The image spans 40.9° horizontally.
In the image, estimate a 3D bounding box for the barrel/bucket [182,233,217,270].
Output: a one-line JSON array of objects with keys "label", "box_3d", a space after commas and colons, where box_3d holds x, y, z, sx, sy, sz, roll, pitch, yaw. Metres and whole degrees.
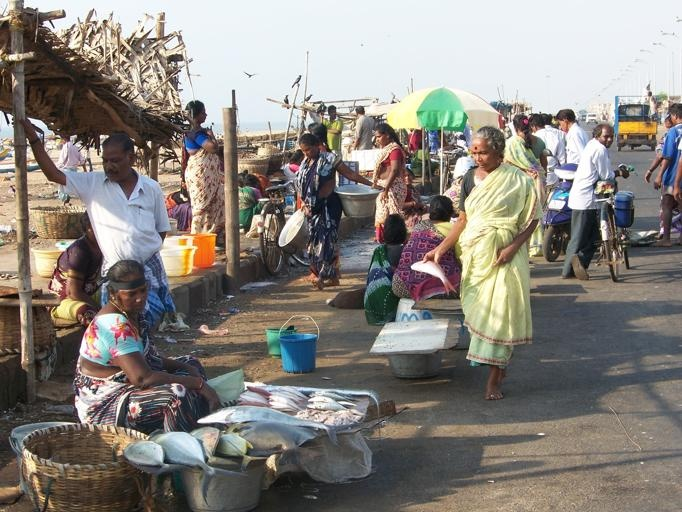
[{"label": "barrel/bucket", "box_3d": [-1.691, -0.071, 11.434, 0.458, 0.307, 0.422, -2, 3, 0]}]

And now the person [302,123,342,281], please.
[{"label": "person", "box_3d": [-0.265, -0.537, 11.278, 0.524, 1.908, 0.621, 0, 6, -1]}]

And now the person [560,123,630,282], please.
[{"label": "person", "box_3d": [3.247, -0.723, 11.925, 0.639, 2.018, 0.796, 3, 7, 21]}]

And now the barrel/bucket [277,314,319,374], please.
[{"label": "barrel/bucket", "box_3d": [-0.401, 0.879, 8.438, 0.341, 0.327, 0.384, 0, 6, -4]}]

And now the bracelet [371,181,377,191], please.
[{"label": "bracelet", "box_3d": [0.446, -0.958, 12.293, 0.068, 0.085, 0.032, -5, -19, -3]}]

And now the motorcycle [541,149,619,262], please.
[{"label": "motorcycle", "box_3d": [3.220, -0.792, 13.600, 1.127, 1.264, 2.050, 16, 12, 10]}]

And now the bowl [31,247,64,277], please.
[{"label": "bowl", "box_3d": [-3.263, 0.076, 10.149, 0.401, 0.269, 0.384, 2, 1, 0]}]

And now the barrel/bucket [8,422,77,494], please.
[{"label": "barrel/bucket", "box_3d": [-1.907, 1.339, 5.878, 0.412, 0.390, 0.306, -2, -35, -26]}]

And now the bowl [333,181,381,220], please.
[{"label": "bowl", "box_3d": [0.246, -0.797, 13.739, 0.757, 0.354, 0.708, 1, 7, 0]}]

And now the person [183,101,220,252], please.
[{"label": "person", "box_3d": [-1.782, -1.088, 11.850, 0.524, 1.714, 1.113, -1, 6, -8]}]

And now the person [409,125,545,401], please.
[{"label": "person", "box_3d": [1.172, 0.056, 7.637, 1.098, 2.098, 0.625, -3, 3, 3]}]

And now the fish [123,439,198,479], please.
[{"label": "fish", "box_3d": [-1.185, 1.242, 5.633, 0.307, 0.121, 0.396, -10, 22, -42]}]

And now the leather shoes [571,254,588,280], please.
[{"label": "leather shoes", "box_3d": [3.061, 0.171, 11.781, 0.160, 0.347, 0.169, -29, -22, 30]}]

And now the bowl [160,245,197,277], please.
[{"label": "bowl", "box_3d": [-1.961, 0.074, 10.970, 0.491, 0.306, 0.429, -1, 2, 39]}]

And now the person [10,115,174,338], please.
[{"label": "person", "box_3d": [-1.860, -0.031, 7.387, 1.055, 2.061, 0.621, -6, 17, -15]}]

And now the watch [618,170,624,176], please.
[{"label": "watch", "box_3d": [3.737, -1.112, 12.229, 0.060, 0.072, 0.028, -10, -9, 13]}]

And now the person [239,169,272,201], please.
[{"label": "person", "box_3d": [-1.381, -1.122, 14.533, 0.422, 0.347, 1.211, 3, 3, 15]}]

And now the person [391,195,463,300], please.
[{"label": "person", "box_3d": [0.844, -0.034, 9.003, 0.638, 0.355, 1.494, 1, 29, 12]}]

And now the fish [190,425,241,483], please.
[{"label": "fish", "box_3d": [-0.794, 1.241, 5.745, 0.267, 0.287, 0.296, -1, 6, -14]}]
